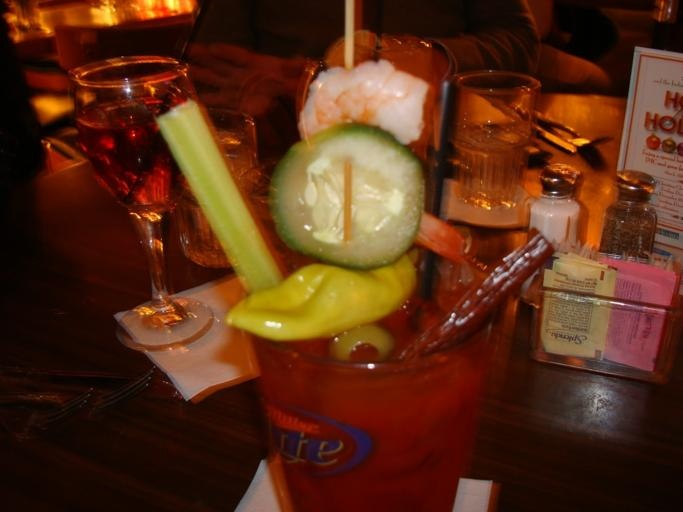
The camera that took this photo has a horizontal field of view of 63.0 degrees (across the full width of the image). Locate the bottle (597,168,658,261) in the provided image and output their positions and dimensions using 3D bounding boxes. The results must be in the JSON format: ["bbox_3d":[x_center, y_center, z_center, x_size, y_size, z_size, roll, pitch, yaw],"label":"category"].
[{"bbox_3d":[0.546,-0.078,1.053,0.086,0.158,0.093,-6,32,4],"label":"bottle"}]

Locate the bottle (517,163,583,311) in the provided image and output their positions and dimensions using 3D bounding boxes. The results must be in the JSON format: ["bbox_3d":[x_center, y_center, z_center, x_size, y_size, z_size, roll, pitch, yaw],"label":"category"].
[{"bbox_3d":[0.418,-0.051,1.102,0.087,0.210,0.088,-3,22,1],"label":"bottle"}]

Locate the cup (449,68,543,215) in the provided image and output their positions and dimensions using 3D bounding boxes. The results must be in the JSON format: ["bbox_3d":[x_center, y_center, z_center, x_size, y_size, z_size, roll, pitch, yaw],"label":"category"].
[{"bbox_3d":[0.417,-0.308,1.575,0.227,0.353,0.228,-1,18,0],"label":"cup"}]

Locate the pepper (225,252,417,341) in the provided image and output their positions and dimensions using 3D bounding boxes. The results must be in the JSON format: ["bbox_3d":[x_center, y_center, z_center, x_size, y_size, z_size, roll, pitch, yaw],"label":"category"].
[{"bbox_3d":[-0.010,0.038,0.517,0.194,0.046,0.055,-17,35,-22],"label":"pepper"}]

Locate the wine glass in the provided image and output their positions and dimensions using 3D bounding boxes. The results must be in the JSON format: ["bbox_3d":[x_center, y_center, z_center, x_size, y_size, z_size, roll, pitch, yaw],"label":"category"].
[{"bbox_3d":[-0.378,-0.041,1.066,0.215,0.616,0.236,18,30,27],"label":"wine glass"}]
